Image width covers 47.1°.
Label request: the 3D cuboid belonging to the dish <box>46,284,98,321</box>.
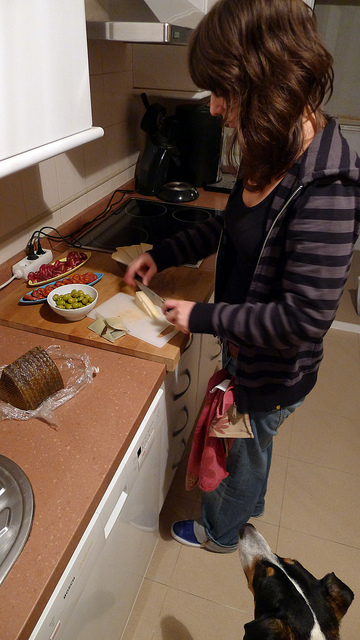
[{"bbox_3d":[-0.302,-0.060,1.173,0.107,0.058,0.117,-1,30,-1],"label":"dish"}]

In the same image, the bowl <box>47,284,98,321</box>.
[{"bbox_3d":[-0.306,-0.051,1.178,0.132,0.063,0.169,1,34,-8],"label":"bowl"}]

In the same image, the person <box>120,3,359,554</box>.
[{"bbox_3d":[0.162,0.162,1.096,0.396,1.601,0.264,28,38,33],"label":"person"}]

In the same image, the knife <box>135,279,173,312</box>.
[{"bbox_3d":[-0.082,-0.071,1.241,0.013,0.022,0.148,15,32,-52],"label":"knife"}]
